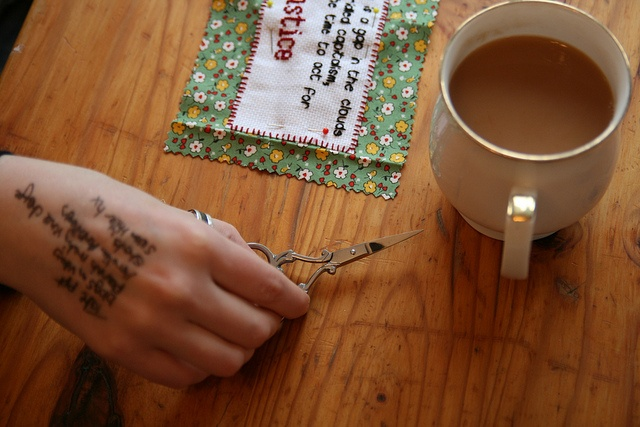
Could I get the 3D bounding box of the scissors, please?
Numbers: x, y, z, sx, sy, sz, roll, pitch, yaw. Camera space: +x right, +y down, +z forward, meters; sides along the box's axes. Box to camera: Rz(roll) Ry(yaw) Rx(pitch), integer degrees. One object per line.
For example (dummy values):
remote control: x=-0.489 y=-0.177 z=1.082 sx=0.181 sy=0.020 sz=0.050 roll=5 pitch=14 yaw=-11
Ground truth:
scissors: x=0.029 y=0.067 z=1.014 sx=0.281 sy=0.139 sz=0.025 roll=-18 pitch=-9 yaw=13
